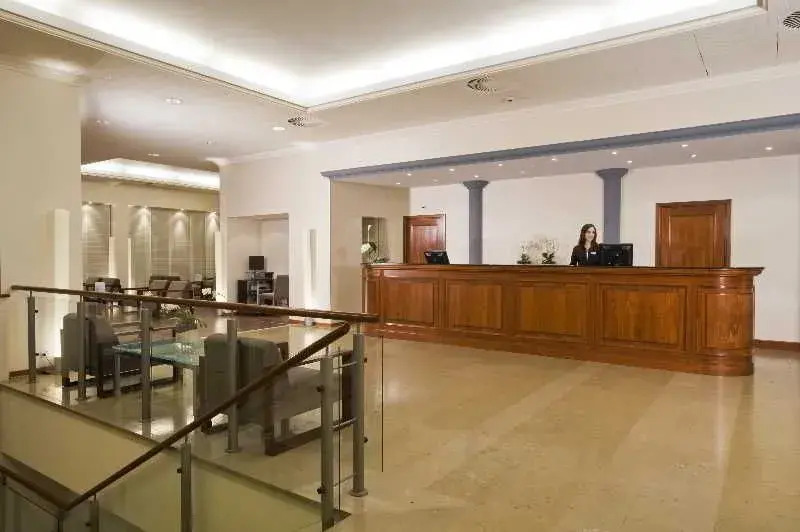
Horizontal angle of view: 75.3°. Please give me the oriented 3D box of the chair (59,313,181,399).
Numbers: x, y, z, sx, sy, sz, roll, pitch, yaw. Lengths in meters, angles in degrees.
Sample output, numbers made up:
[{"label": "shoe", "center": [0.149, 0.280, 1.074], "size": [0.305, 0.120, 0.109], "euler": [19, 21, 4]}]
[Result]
[{"label": "chair", "center": [-3.578, 1.168, 7.050], "size": [1.492, 1.092, 1.415], "euler": [2, 1, 44]}]

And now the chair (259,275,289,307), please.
[{"label": "chair", "center": [-3.504, 0.666, 14.304], "size": [0.586, 1.007, 1.363], "euler": [-8, 14, -27]}]

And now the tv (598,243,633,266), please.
[{"label": "tv", "center": [3.697, -0.195, 8.949], "size": [0.455, 0.367, 0.155], "euler": [1, 2, 29]}]

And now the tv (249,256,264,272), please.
[{"label": "tv", "center": [-4.155, -0.072, 14.989], "size": [0.511, 0.447, 0.165], "euler": [5, 4, -36]}]

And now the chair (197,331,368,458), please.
[{"label": "chair", "center": [-1.207, 1.197, 5.270], "size": [1.488, 1.021, 1.179], "euler": [2, 3, 39]}]

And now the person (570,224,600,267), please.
[{"label": "person", "center": [3.446, -0.414, 9.651], "size": [0.466, 0.730, 0.747], "euler": [3, 13, 17]}]
